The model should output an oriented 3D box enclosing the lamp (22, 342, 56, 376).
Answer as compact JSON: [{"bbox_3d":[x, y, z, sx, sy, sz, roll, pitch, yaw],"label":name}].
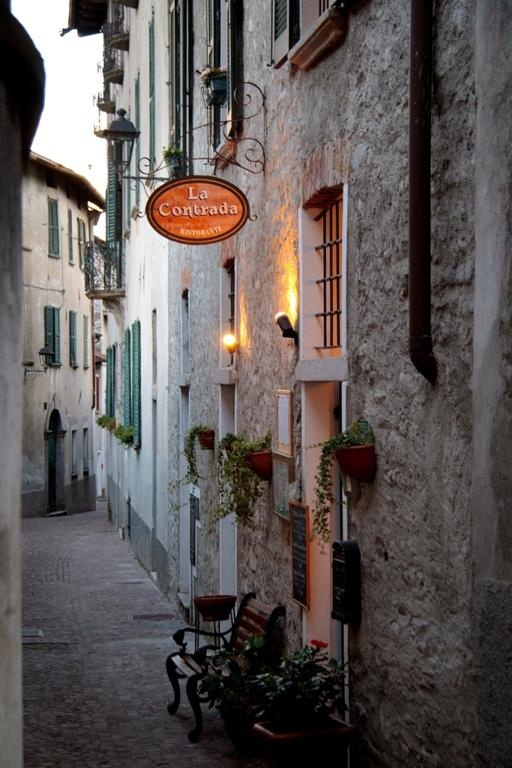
[{"bbox_3d":[-7.705,-0.704,27.596,0.375,1.050,2.204,-1,-6,8],"label":"lamp"}]

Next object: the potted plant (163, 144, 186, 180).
[{"bbox_3d":[-1.177,-3.180,11.054,0.287,0.438,0.776,0,-6,-8],"label":"potted plant"}]

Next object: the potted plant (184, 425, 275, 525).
[{"bbox_3d":[-0.252,0.811,7.326,0.406,1.200,2.110,1,-3,-13],"label":"potted plant"}]

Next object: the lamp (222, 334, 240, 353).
[{"bbox_3d":[-0.263,-0.419,7.818,0.149,0.173,0.350,0,-6,-4],"label":"lamp"}]

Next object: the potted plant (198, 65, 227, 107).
[{"bbox_3d":[-0.467,-3.021,8.113,0.235,0.521,0.364,-4,7,-17],"label":"potted plant"}]

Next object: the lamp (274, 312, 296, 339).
[{"bbox_3d":[0.205,-0.406,5.444,0.104,0.230,0.253,1,-5,-12],"label":"lamp"}]

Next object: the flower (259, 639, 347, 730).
[{"bbox_3d":[0.233,1.638,4.205,0.313,0.507,0.487,-3,-1,-10],"label":"flower"}]
